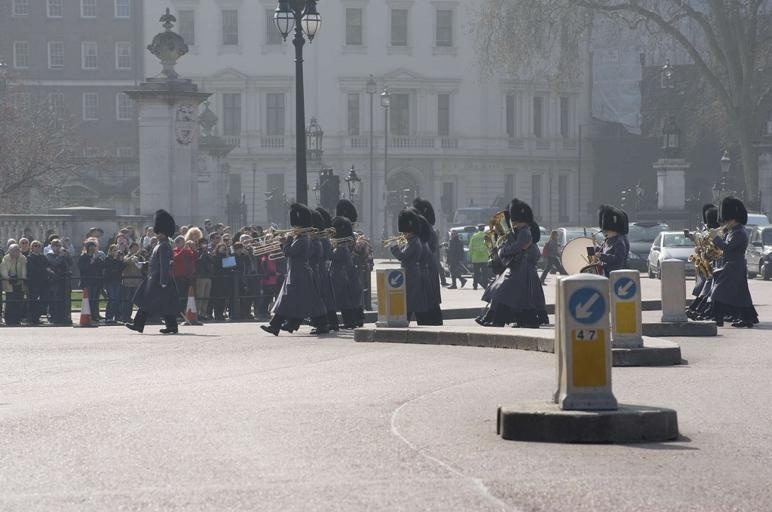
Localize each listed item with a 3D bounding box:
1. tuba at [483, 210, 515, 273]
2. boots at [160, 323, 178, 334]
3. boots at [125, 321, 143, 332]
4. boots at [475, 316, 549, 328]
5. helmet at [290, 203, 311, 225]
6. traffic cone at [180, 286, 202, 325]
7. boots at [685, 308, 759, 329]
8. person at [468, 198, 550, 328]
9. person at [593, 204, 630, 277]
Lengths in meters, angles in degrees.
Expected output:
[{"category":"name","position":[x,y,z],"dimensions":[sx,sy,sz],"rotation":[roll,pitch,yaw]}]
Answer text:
[{"category":"tuba","position":[2.337,-0.356,41.316],"dimensions":[0.644,1.400,1.066],"rotation":[0,0,-10]},{"category":"boots","position":[-5.222,1.747,42.671],"dimensions":[0.533,0.234,0.179],"rotation":[3,3,40]},{"category":"boots","position":[-6.024,1.697,42.917],"dimensions":[0.400,0.219,0.641],"rotation":[-1,0,-11]},{"category":"boots","position":[2.713,1.566,41.203],"dimensions":[1.458,0.254,0.175],"rotation":[6,38,7]},{"category":"helmet","position":[-2.010,-0.937,41.716],"dimensions":[0.493,0.500,0.285],"rotation":[-1,0,-4]},{"category":"traffic cone","position":[-4.845,1.269,44.378],"dimensions":[0.891,1.051,0.843],"rotation":[0,-5,-6]},{"category":"boots","position":[7.974,1.432,42.738],"dimensions":[1.564,0.409,0.473],"rotation":[-1,0,3]},{"category":"person","position":[2.910,0.157,41.039],"dimensions":[1.413,2.492,0.819],"rotation":[-1,0,9]},{"category":"person","position":[4.960,-0.358,40.655],"dimensions":[1.477,1.606,0.701],"rotation":[-1,1,42]}]
